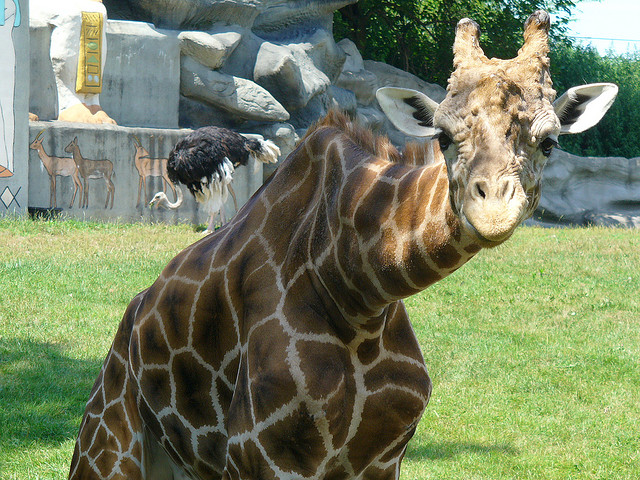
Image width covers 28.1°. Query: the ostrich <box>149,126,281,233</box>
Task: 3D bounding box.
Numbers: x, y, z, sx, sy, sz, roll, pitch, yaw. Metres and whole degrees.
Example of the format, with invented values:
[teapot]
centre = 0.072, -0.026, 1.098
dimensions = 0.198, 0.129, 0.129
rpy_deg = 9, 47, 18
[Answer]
[ostrich]
centre = -2.364, -1.395, 28.741
dimensions = 2.703, 2.601, 1.152
rpy_deg = -7, 8, -9
